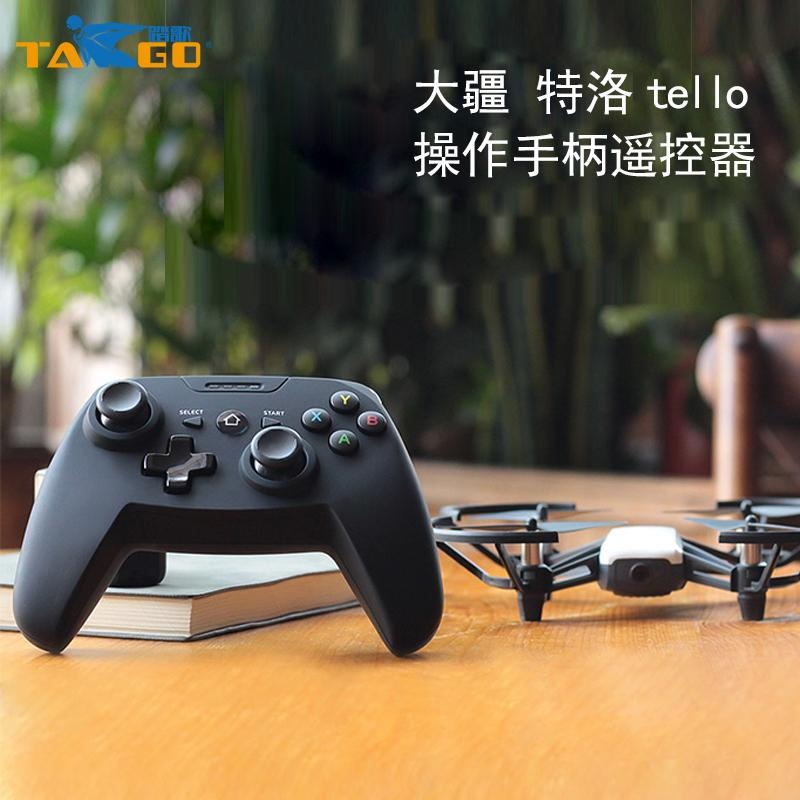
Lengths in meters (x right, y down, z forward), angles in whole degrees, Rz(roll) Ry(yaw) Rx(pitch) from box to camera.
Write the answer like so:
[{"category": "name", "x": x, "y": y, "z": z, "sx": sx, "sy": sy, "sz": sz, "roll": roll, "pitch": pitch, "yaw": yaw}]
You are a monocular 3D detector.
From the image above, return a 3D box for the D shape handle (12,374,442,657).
[{"category": "D shape handle", "x": -0.081, "y": 0.047, "z": 0.451, "sx": 0.189, "sy": 0.116, "sz": 0.112, "roll": -8, "pitch": 30, "yaw": 5}]
